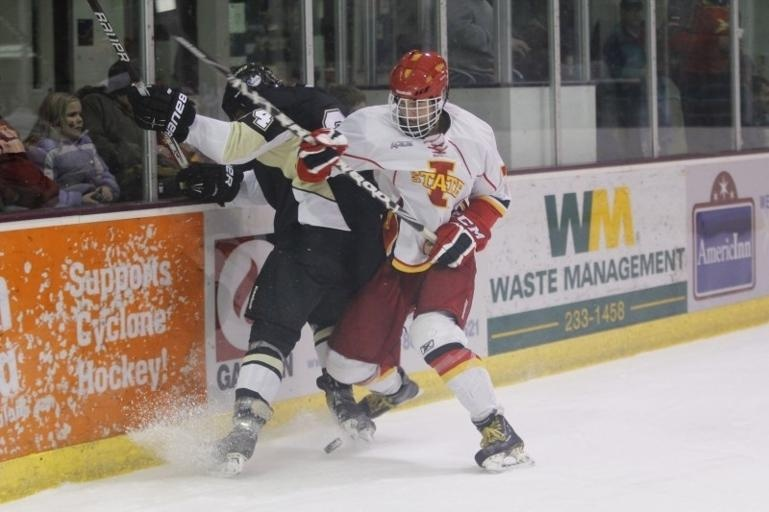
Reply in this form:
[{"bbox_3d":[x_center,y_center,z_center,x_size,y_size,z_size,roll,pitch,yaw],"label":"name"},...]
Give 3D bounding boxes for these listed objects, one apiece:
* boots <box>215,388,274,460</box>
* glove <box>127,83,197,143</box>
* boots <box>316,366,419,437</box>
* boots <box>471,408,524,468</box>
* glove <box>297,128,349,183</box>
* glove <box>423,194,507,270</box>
[{"bbox_3d":[-0.787,0.914,5.232,0.151,0.338,0.351,17,-11,-33],"label":"boots"},{"bbox_3d":[-1.107,-0.731,4.878,0.336,0.238,0.130,25,3,-7],"label":"glove"},{"bbox_3d":[-0.094,0.885,5.580,0.443,0.442,0.200,16,-15,-7],"label":"boots"},{"bbox_3d":[0.596,0.993,5.182,0.318,0.289,0.127,-1,-37,-32],"label":"boots"},{"bbox_3d":[-0.358,-0.565,5.109,0.296,0.169,0.370,-20,5,19],"label":"glove"},{"bbox_3d":[0.451,-0.144,5.275,0.162,0.444,0.287,-1,-42,44],"label":"glove"}]
